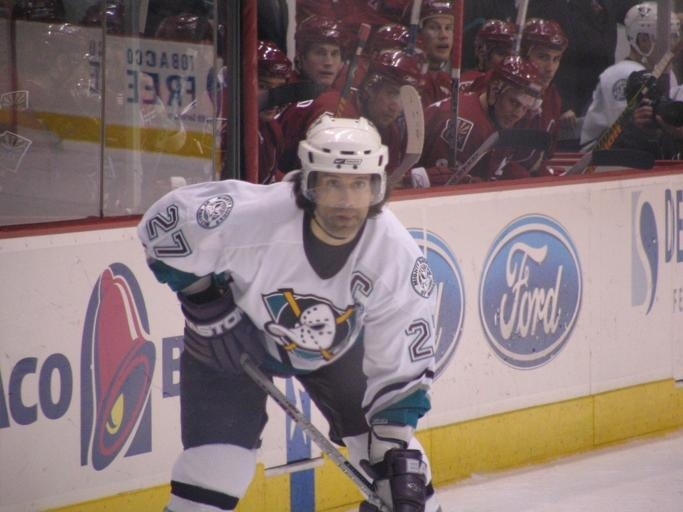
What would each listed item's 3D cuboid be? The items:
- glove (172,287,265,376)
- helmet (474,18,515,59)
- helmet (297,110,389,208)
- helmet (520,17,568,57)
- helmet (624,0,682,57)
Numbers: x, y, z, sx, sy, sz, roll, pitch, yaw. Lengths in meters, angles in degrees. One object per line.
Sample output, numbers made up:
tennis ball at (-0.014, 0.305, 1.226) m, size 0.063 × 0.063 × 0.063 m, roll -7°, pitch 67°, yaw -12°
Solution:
glove at (-0.532, 0.332, 5.472) m, size 0.360 × 0.221 × 0.368 m, roll -8°, pitch -38°, yaw 34°
helmet at (0.808, -1.148, 6.423) m, size 0.209 × 0.199 × 0.182 m, roll -7°, pitch 8°, yaw 12°
helmet at (0.005, -0.407, 5.223) m, size 0.339 × 0.333 × 0.387 m, roll 3°, pitch 8°, yaw -5°
helmet at (1.098, -1.189, 6.561) m, size 0.220 × 0.183 × 0.172 m, roll 5°, pitch 15°, yaw -5°
helmet at (1.773, -1.317, 6.972) m, size 0.344 × 0.332 × 0.259 m, roll -6°, pitch 23°, yaw -2°
